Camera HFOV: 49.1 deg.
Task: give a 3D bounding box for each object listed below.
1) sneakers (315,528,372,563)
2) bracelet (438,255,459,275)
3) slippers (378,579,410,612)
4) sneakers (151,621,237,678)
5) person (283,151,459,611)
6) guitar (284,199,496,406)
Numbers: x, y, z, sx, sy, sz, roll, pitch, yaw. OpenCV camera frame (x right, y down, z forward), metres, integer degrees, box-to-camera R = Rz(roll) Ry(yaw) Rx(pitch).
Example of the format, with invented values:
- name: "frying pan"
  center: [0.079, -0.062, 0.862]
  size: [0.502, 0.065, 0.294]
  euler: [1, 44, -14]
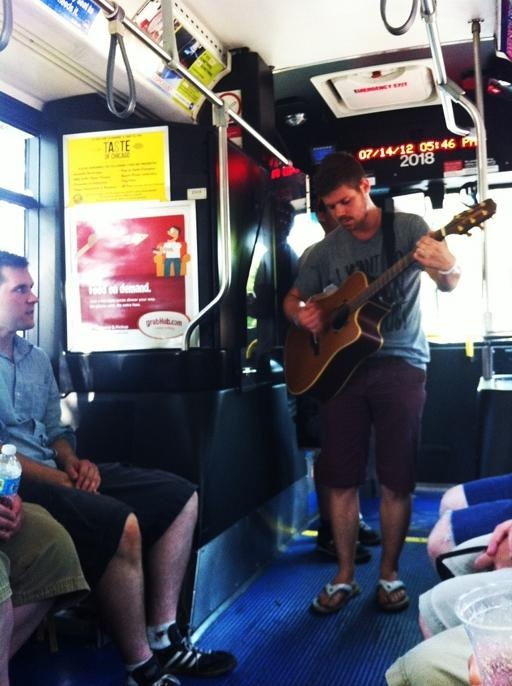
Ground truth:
- name: "sneakers"
  center: [0.410, 1.031, 2.879]
  size: [0.115, 0.151, 0.344]
  euler: [2, -6, -35]
- name: "bracelet"
  center: [0.737, -0.287, 2.132]
  size: [0.072, 0.055, 0.033]
  euler: [-20, -41, 20]
- name: "slippers"
  center: [0.535, 0.988, 2.208]
  size: [0.123, 0.105, 0.099]
  euler: [-2, -3, 15]
- name: "sneakers"
  center: [-0.215, 0.986, 1.838]
  size: [0.320, 0.137, 0.118]
  euler: [0, 0, -5]
- name: "person"
  center: [0.450, 0.149, 2.328]
  size: [0.721, 1.805, 0.603]
  euler: [-7, -13, 28]
- name: "guitar"
  center: [0.662, -0.174, 2.787]
  size: [0.156, 0.634, 1.550]
  euler: [17, -40, -34]
